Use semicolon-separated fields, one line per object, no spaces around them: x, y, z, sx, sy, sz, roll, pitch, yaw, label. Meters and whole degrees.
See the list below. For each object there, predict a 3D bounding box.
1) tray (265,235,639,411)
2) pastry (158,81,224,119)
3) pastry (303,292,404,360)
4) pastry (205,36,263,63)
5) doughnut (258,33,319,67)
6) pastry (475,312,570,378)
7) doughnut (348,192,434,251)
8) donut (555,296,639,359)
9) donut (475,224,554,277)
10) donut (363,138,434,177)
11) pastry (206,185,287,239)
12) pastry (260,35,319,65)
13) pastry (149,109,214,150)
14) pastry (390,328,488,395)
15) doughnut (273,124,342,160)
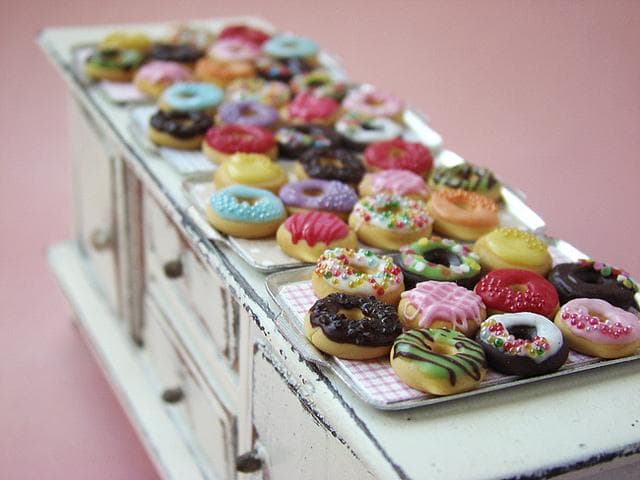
0.369;0.315;2.298;0.804;0.084;0.565;-12;33;-23;tray
-0.583;-0.656;3.363;0.238;0.085;0.242;25;37;29;pastry
0.098;0.269;2.299;0.224;0.079;0.241;24;34;34;pastry
-0.453;-0.981;3.789;0.200;0.063;0.191;-14;35;-19;pastry
-0.162;-1.038;3.944;0.232;0.075;0.234;17;28;25;doughnut
0.652;0.327;2.348;0.284;0.111;0.305;-9;27;-6;pastry
0.261;-0.040;2.841;0.279;0.088;0.273;8;11;-20;doughnut
0.903;0.289;2.393;0.249;0.139;0.177;-7;23;-10;donut
0.697;0.032;2.635;0.204;0.117;0.208;23;35;30;donut
0.339;-0.359;3.228;0.324;0.114;0.301;-17;26;-31;donut
-0.279;-0.109;2.800;0.300;0.160;0.223;-7;22;-9;pastry
-0.174;-1.081;4.051;0.310;0.100;0.299;-1;3;-13;pastry
-0.593;-0.517;3.145;0.212;0.070;0.205;22;31;28;pastry
0.363;0.369;2.246;0.244;0.132;0.232;-21;28;-38;pastry
-0.071;-0.449;3.251;0.205;0.068;0.201;5;26;5;doughnut
